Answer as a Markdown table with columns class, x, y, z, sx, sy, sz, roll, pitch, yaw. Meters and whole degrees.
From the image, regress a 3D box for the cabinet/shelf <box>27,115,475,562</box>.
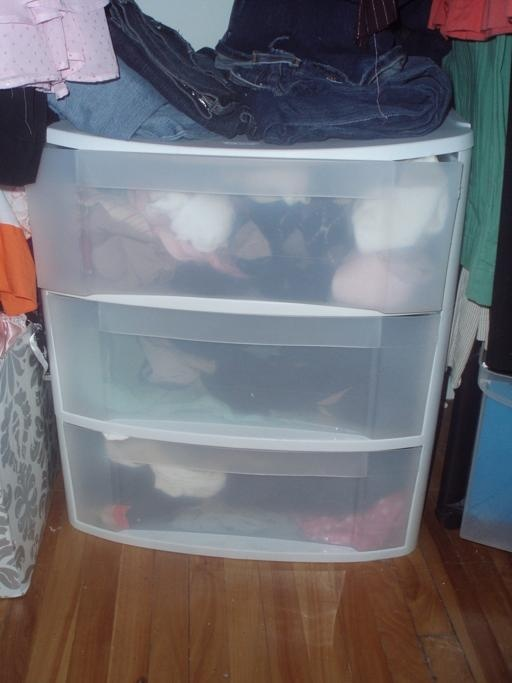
| class | x | y | z | sx | sy | sz | roll | pitch | yaw |
| --- | --- | --- | --- | --- | --- | --- | --- | --- | --- |
| cabinet/shelf | -0.004 | -0.051 | 1.166 | 0.708 | 0.779 | 0.593 | 2 | 25 | 3 |
